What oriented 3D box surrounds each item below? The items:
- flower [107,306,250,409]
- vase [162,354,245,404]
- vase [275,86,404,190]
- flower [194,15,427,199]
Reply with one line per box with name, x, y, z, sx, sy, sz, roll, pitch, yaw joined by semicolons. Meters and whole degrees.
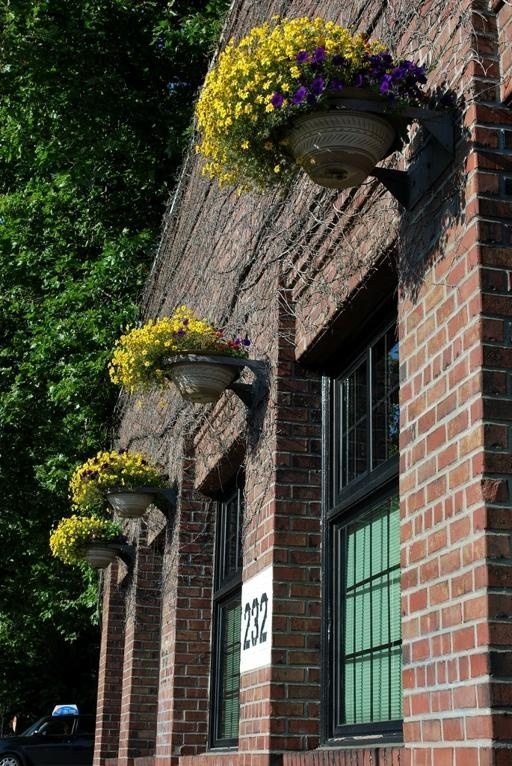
flower;-0.321;-0.140;7.585;0.588;0.377;0.534;-11;-13;34
vase;-0.258;-0.036;7.317;0.244;0.120;0.300;-4;-20;6
vase;0.313;-0.853;5.447;0.376;0.161;0.415;6;0;-11
flower;0.196;-1.048;5.556;0.690;0.477;0.697;-6;1;-25
